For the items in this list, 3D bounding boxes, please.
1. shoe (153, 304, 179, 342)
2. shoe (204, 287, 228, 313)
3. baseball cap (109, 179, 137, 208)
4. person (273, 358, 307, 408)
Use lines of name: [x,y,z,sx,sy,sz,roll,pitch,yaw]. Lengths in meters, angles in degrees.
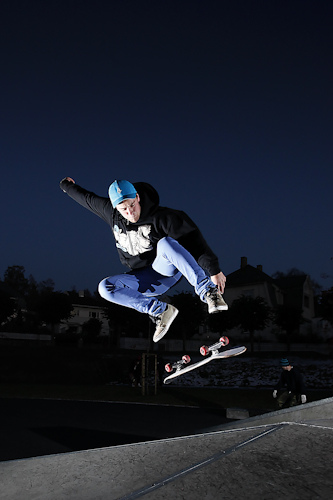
shoe: [-0.014,0.821,4.972,0.246,0.410,0.264,1,-3,2]
shoe: [0.460,0.472,4.166,0.210,0.238,0.357,0,-3,6]
baseball cap: [-0.432,-0.554,4.448,0.227,0.182,0.321,-20,28,13]
person: [2.853,3.110,10.022,0.402,1.134,0.802,1,-3,-10]
